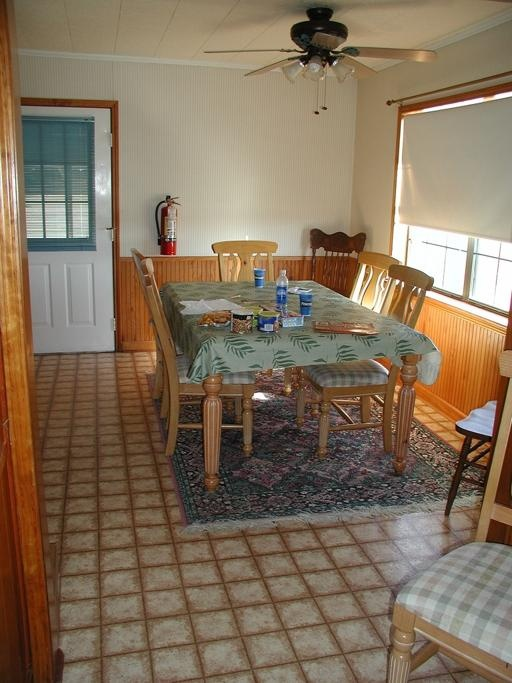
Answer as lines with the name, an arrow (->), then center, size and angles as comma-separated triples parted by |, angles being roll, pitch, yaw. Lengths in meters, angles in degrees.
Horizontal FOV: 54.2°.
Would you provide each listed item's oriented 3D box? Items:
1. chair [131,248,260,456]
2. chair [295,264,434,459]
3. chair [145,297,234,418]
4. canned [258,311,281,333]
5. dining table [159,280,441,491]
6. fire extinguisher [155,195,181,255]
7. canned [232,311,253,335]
chair -> -0.383, 0.085, 3.111 | 0.806, 1.553, 0.852 | -5, 32, -9
chair -> 0.597, 0.062, 2.980 | 0.631, 0.999, 0.715 | 9, 14, 14
chair -> -0.357, 0.088, 2.758 | 0.480, 0.764, 0.436 | -5, 40, -11
canned -> 0.059, -0.093, 2.470 | 0.102, 0.098, 0.100 | -9, 26, -24
dining table -> 0.132, 0.168, 3.107 | 1.313, 0.908, 1.413 | -1, 13, -16
fire extinguisher -> -0.843, -1.098, 4.728 | 0.219, 0.564, 0.217 | 1, 13, -6
canned -> -0.066, -0.089, 2.440 | 0.107, 0.101, 0.101 | -3, 20, -16
